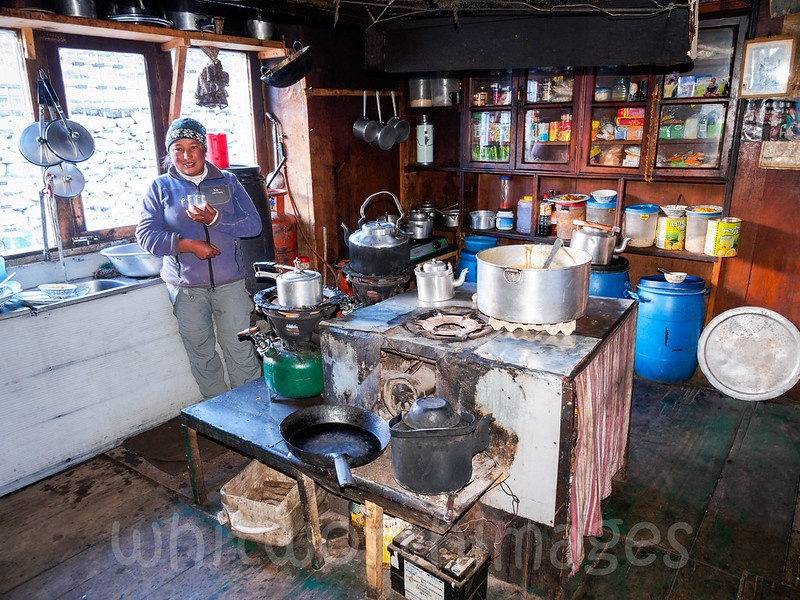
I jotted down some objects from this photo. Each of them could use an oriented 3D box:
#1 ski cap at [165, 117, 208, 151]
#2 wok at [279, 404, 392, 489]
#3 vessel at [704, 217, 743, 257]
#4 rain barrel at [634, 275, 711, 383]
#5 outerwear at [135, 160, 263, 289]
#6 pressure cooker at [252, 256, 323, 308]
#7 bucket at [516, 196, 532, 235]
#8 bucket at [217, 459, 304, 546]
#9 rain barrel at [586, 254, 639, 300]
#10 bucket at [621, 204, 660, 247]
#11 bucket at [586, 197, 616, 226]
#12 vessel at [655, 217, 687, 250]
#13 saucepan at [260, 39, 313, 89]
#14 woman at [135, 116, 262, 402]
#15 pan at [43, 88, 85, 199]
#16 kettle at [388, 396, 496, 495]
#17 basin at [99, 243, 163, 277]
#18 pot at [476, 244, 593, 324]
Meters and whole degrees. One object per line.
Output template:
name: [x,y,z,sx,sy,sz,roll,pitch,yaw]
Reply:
ski cap: [-1.440,-1.096,3.625,0.253,0.171,0.240,-2,5,-13]
wok: [-0.339,0.671,2.532,0.534,0.161,0.487,7,20,27]
vessel: [2.504,-0.479,4.145,0.244,0.302,0.183,4,20,17]
rain barrel: [2.113,0.246,4.260,0.483,0.844,0.254,5,21,21]
outerwear: [-1.395,-0.508,3.677,0.882,0.833,0.504,-7,18,-27]
pressure cooker: [-0.661,-0.117,3.104,0.464,0.213,0.246,9,16,32]
bucket: [1.231,-0.804,5.189,0.227,0.345,0.219,1,13,0]
bucket: [-0.729,1.124,3.032,0.347,0.361,0.420,8,21,27]
rain barrel: [1.699,-0.200,4.420,0.339,0.333,0.319,-26,34,-26]
bucket: [2.004,-0.622,4.460,0.349,0.345,0.335,-3,11,1]
bucket: [1.723,-0.770,4.660,0.237,0.222,0.245,-1,17,0]
vessel: [2.201,-0.560,4.483,0.259,0.269,0.261,10,16,33]
saucepan: [-0.873,-1.795,4.092,0.360,0.355,0.698,-6,18,-11]
woman: [-1.348,-0.166,3.761,0.766,1.979,0.655,-13,21,-27]
pan: [-2.205,-1.000,3.492,0.157,0.641,0.254,21,26,29]
kettle: [0.180,0.614,2.371,0.467,0.330,0.321,-1,13,5]
basin: [-1.887,-0.268,3.915,0.313,0.115,0.298,1,15,0]
pot: [0.709,-0.105,2.806,0.552,0.268,0.536,-2,21,1]
